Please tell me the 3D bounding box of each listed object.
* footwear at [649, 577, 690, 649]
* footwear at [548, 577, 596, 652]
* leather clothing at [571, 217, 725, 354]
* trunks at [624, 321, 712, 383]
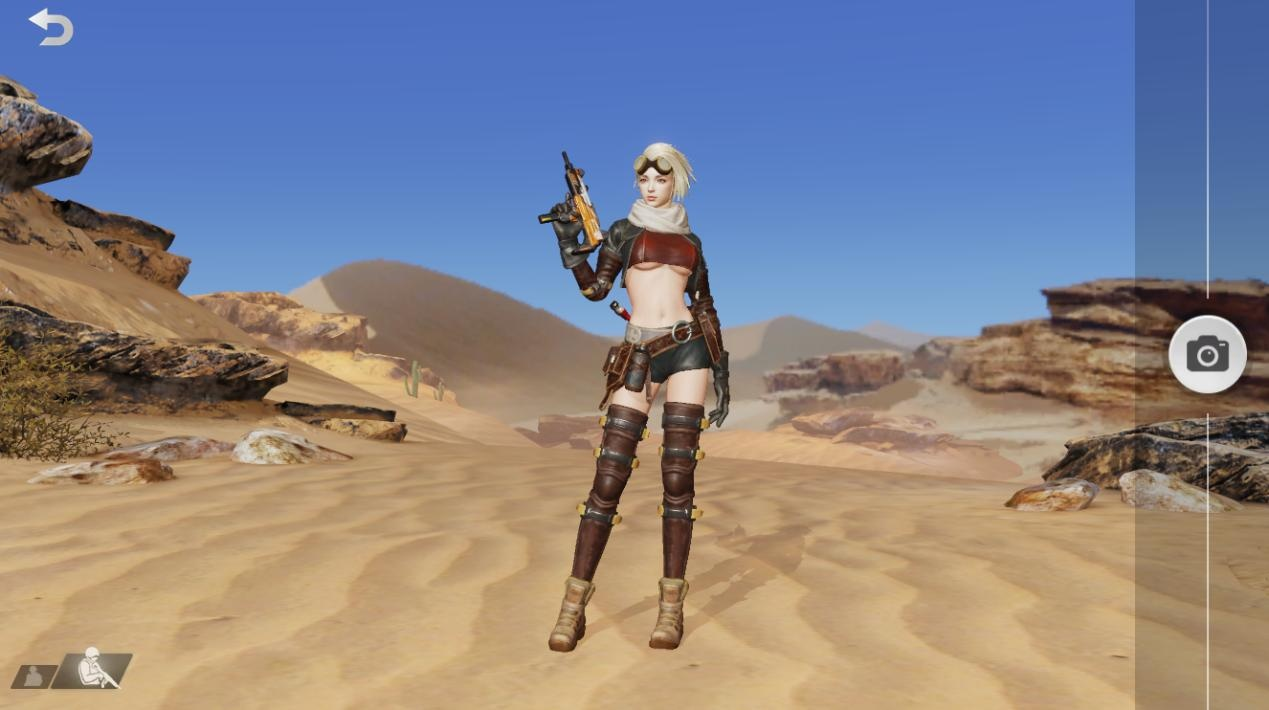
[{"bbox_3d":[0.230,1.656,4.801,0.208,0.287,0.269,3,-1,5],"label":"footwear"},{"bbox_3d":[-0.388,1.650,4.750,0.206,0.332,0.296,3,-1,7],"label":"footwear"},{"bbox_3d":[0.142,-0.536,4.978,1.071,0.994,0.360,-5,-14,-8],"label":"leather clothing"},{"bbox_3d":[0.257,-0.010,5.358,0.873,0.429,0.408,-3,-2,-10],"label":"trunks"}]
